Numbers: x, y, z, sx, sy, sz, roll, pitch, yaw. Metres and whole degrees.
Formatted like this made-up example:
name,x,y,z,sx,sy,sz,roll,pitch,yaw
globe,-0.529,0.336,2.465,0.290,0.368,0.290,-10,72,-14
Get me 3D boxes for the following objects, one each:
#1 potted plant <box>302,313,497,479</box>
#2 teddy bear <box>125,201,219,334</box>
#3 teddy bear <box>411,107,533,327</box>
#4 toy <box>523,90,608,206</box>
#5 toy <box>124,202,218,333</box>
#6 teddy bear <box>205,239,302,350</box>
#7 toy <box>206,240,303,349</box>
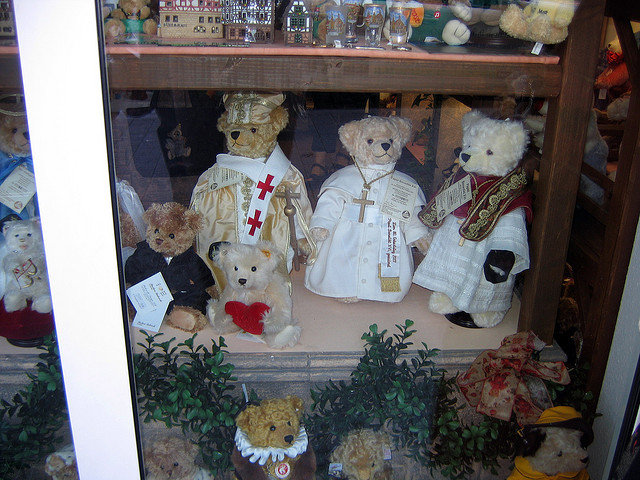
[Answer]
name,x,y,z,sx,sy,sz,roll,pitch,yaw
potted plant,0.270,0.523,1.802,0.639,0.520,0.448,3,23,3
teddy bear,-0.573,0.087,1.944,0.367,0.437,0.296,13,32,14
teddy bear,0.628,-0.089,2.054,0.453,0.824,0.282,7,23,13
toy,1.044,-0.351,2.000,0.384,0.403,0.115,34,-18,-32
toy,-0.575,0.096,1.940,0.379,0.438,0.296,12,31,11
teddy bear,-0.239,0.198,1.934,0.350,0.383,0.255,9,26,23
toy,-0.178,0.190,2.032,0.438,0.482,0.346,0,19,3
